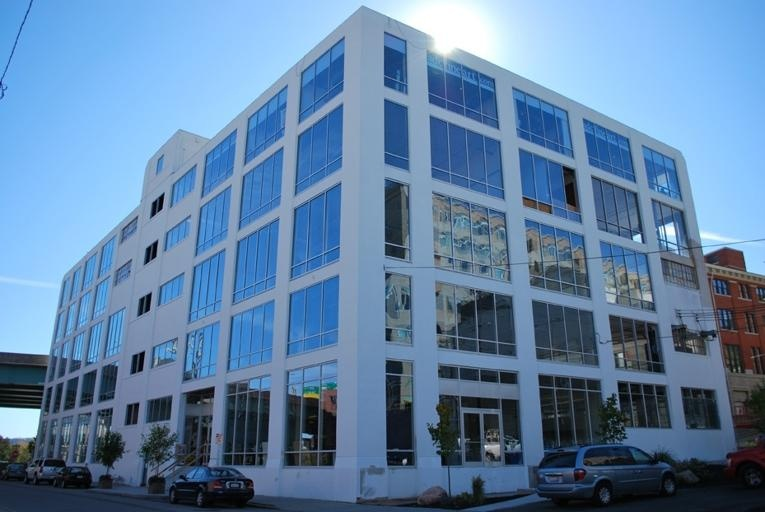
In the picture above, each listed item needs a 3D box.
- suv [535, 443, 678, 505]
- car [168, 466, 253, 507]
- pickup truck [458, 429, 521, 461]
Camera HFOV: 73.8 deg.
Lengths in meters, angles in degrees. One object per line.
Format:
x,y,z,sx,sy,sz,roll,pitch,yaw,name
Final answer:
9.888,9.585,22.479,6.659,2.342,1.847,8,-26,-22,suv
-8.927,11.834,26.229,4.762,1.942,1.470,-18,-28,30,car
6.230,10.963,29.505,3.277,1.977,1.250,6,-16,-15,pickup truck
